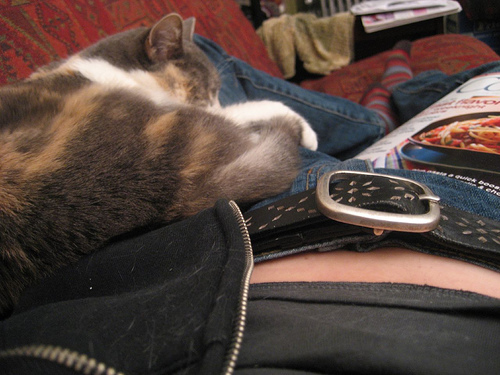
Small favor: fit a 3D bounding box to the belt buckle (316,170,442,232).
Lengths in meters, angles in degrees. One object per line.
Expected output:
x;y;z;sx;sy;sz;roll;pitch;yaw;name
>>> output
0.202;0.015;0.768;0.191;0.054;0.127;2;49;26;belt buckle
